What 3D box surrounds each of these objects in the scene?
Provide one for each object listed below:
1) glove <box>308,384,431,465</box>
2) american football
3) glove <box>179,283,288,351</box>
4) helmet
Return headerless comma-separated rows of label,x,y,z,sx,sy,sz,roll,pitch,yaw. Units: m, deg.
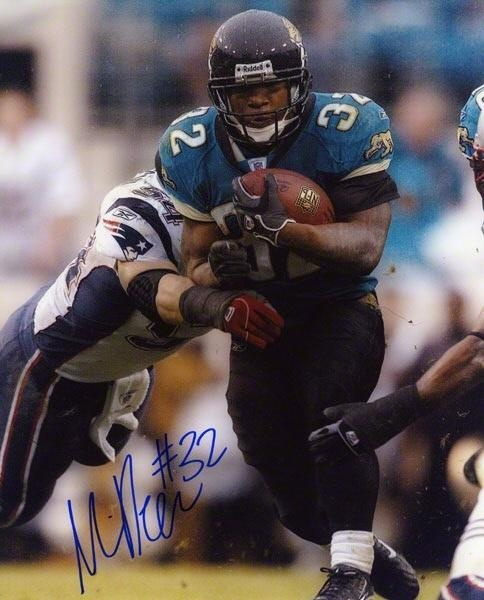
glove,0.354,0.337,2.103,0.436,0.129,0.131,-22,-2,-8
american football,0.127,-0.232,1.749,0.219,0.103,0.121,18,5,5
glove,-0.007,0.039,1.673,0.247,0.124,0.074,6,74,27
helmet,0.034,-0.529,1.736,0.295,0.278,0.314,-3,52,9
